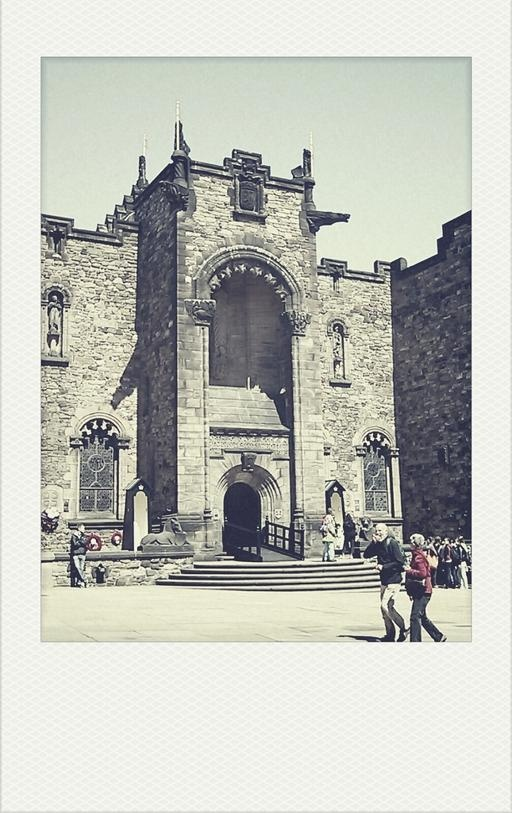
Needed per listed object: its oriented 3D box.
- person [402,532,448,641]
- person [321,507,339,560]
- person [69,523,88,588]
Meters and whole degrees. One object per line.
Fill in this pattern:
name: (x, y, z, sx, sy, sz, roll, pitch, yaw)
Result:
person: (2.310, 2.524, 15.024, 0.491, 1.481, 2.561, -1, 0, 9)
person: (1.618, 2.871, 25.013, 0.467, 1.120, 0.421, -5, 14, -10)
person: (-3.686, 3.216, 23.031, 0.348, 1.259, 0.759, -1, 0, -9)
